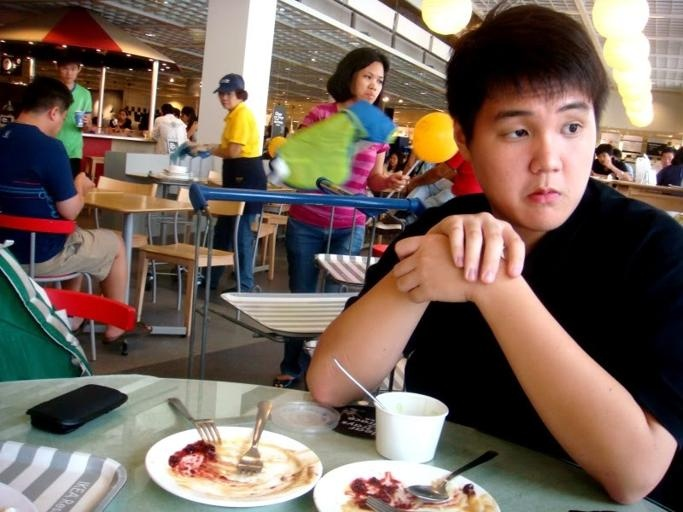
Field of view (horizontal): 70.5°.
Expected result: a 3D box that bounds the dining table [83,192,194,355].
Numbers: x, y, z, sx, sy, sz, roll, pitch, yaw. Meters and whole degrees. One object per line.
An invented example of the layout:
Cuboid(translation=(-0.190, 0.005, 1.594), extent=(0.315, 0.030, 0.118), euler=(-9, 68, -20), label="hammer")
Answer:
Cuboid(translation=(-1.507, 0.142, 3.645), extent=(0.756, 0.840, 1.438), euler=(-8, 22, -39), label="dining table")

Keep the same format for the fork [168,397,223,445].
Cuboid(translation=(-0.255, 0.283, 0.823), extent=(0.038, 0.028, 0.221), euler=(-24, 17, -25), label="fork")

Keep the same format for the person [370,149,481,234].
Cuboid(translation=(0.692, -0.494, 3.180), extent=(0.473, 0.655, 0.309), euler=(-5, 12, 30), label="person")

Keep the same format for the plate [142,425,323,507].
Cuboid(translation=(-0.162, 0.312, 0.727), extent=(0.247, 0.024, 0.193), euler=(3, 8, -17), label="plate")

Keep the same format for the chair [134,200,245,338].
Cuboid(translation=(-1.159, 0.041, 3.759), extent=(0.777, 0.873, 0.742), euler=(-6, 15, -36), label="chair")

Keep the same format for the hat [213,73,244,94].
Cuboid(translation=(-1.044, -1.647, 4.653), extent=(0.355, 0.166, 0.219), euler=(5, 21, 0), label="hat")

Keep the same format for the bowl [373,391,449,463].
Cuboid(translation=(0.122, 0.287, 0.813), extent=(0.103, 0.058, 0.093), euler=(-2, -38, 17), label="bowl")

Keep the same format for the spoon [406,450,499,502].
Cuboid(translation=(0.165, 0.320, 0.745), extent=(0.047, 0.018, 0.157), euler=(1, 16, 43), label="spoon")

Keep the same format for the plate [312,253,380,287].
Cuboid(translation=(0.022, 0.066, 2.532), extent=(0.220, 0.278, 0.219), euler=(5, 3, -10), label="plate")

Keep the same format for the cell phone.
Cuboid(translation=(-0.459, 0.261, 0.841), extent=(0.109, 0.027, 0.134), euler=(9, 10, 18), label="cell phone")

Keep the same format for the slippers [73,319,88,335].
Cuboid(translation=(-1.785, 0.471, 3.343), extent=(0.077, 0.160, 0.056), euler=(6, -4, 31), label="slippers")
